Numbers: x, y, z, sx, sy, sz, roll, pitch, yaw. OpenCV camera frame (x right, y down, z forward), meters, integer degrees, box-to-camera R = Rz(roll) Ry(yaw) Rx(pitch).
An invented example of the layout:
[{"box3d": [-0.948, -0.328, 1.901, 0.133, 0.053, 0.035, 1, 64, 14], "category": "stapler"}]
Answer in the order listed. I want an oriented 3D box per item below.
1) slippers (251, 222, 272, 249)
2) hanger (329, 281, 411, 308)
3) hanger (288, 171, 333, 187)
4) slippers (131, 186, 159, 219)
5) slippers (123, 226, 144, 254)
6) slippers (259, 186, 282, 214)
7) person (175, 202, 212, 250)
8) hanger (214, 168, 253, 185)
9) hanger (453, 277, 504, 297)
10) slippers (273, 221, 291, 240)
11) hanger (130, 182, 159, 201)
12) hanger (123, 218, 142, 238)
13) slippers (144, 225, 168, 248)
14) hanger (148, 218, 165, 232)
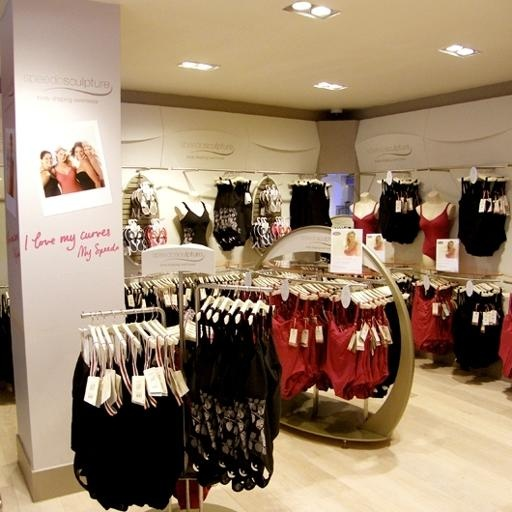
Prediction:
[{"box3d": [0.073, -0.315, 5.700, 0.264, 0.389, 0.325, -6, 6, -44], "category": "slippers"}, {"box3d": [0.871, 0.320, 3.187, 0.315, 0.137, 0.338, -1, 5, -22], "category": "hanger"}, {"box3d": [0.946, -1.281, 6.468, 0.358, 0.204, 0.495, -4, 6, -33], "category": "hanger"}, {"box3d": [-1.395, -0.676, 4.938, 0.276, 0.481, 0.122, -2, 0, -23], "category": "slippers"}, {"box3d": [-1.452, -0.188, 4.775, 0.277, 0.475, 0.122, 0, -3, -37], "category": "slippers"}, {"box3d": [0.206, -0.848, 5.957, 0.297, 0.429, 0.197, 0, 1, -5], "category": "slippers"}, {"box3d": [-0.840, -0.438, 5.536, 0.392, 0.789, 0.378, -21, -24, 40], "category": "person"}, {"box3d": [-0.280, -1.172, 5.810, 0.664, 0.250, 0.492, 0, 2, -17], "category": "hanger"}, {"box3d": [2.721, 0.371, 4.743, 0.379, 0.174, 0.308, -1, 3, -37], "category": "hanger"}, {"box3d": [0.352, -0.400, 5.817, 0.208, 0.322, 0.128, 5, -9, -7], "category": "slippers"}, {"box3d": [-1.379, -0.806, 4.938, 0.185, 0.111, 0.296, 4, 27, -8], "category": "hanger"}, {"box3d": [-1.509, -0.341, 4.841, 0.148, 0.262, 0.099, -4, -17, -4], "category": "hanger"}, {"box3d": [-1.274, -0.273, 5.019, 0.256, 0.287, 0.350, 0, 2, -18], "category": "slippers"}, {"box3d": [-1.283, -0.381, 5.058, 0.150, 0.245, 0.070, 6, -18, -31], "category": "hanger"}]
